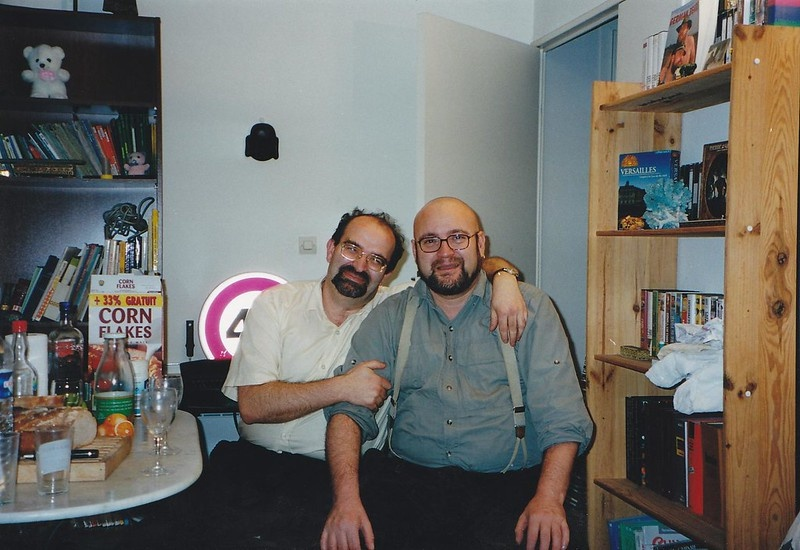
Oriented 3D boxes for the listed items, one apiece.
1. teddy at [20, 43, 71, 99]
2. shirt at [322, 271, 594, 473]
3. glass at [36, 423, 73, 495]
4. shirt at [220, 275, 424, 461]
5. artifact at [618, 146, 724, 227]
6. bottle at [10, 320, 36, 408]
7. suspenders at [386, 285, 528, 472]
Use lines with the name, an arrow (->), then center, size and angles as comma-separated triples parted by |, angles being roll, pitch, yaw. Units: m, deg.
teddy -> -2.090, -1.191, 3.703 | 0.247, 0.332, 0.303 | -4, 2, -20
shirt -> 0.308, 0.457, 2.733 | 1.271, 0.993, 0.697 | 1, -6, 14
glass -> -1.105, 0.594, 2.014 | 0.102, 0.219, 0.059 | -4, 2, -34
shirt -> -0.304, 0.415, 2.686 | 0.698, 0.598, 0.378 | 17, -9, -6
artifact -> 1.203, -0.379, 2.797 | 0.391, 0.330, 0.143 | -2, -7, 35
bottle -> -1.413, 0.319, 2.362 | 0.083, 0.296, 0.185 | -4, 2, -31
suspenders -> 0.343, 0.401, 2.437 | 0.413, 0.721, 0.143 | -1, -4, 17
